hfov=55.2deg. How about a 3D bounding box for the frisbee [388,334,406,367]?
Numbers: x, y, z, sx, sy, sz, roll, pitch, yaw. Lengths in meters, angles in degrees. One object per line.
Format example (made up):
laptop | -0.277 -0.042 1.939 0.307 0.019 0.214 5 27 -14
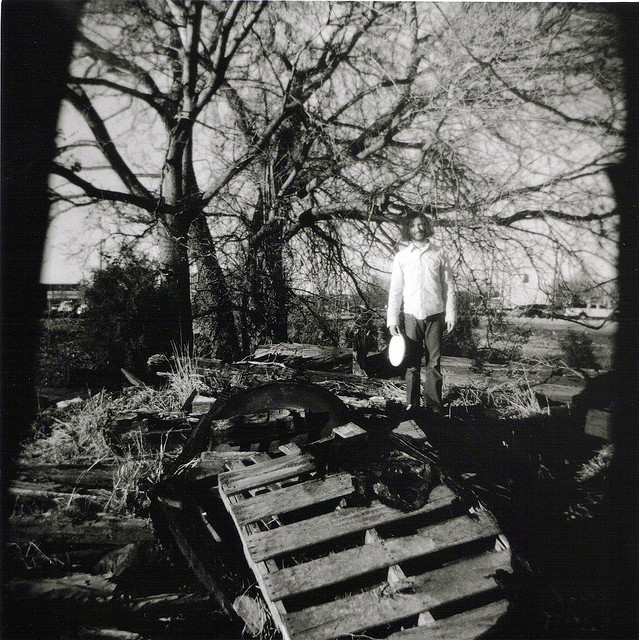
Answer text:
frisbee | 0.711 0.269 5.502 0.122 0.287 0.294 -2 -1 -12

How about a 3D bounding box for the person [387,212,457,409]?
person | 0.900 -0.089 5.440 0.587 1.754 0.185 -2 0 13
